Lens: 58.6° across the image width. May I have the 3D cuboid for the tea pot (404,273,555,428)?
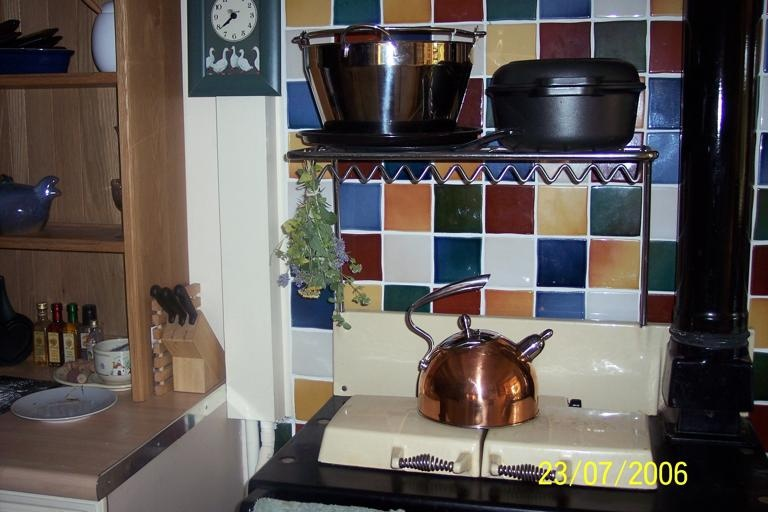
[{"bbox_3d":[0.244,0.241,1.844,0.334,0.376,0.331,-3,2,0],"label":"tea pot"}]

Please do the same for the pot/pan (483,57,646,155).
[{"bbox_3d":[0.479,-0.405,1.832,0.414,0.245,0.417,-11,14,-41],"label":"pot/pan"}]

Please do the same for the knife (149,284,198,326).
[{"bbox_3d":[-0.641,0.140,2.089,0.124,0.126,0.036,-31,16,-24],"label":"knife"}]

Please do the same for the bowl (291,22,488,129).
[{"bbox_3d":[0.019,-0.491,1.862,0.476,0.256,0.541,8,17,27],"label":"bowl"}]

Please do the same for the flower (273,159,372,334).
[{"bbox_3d":[-0.209,-0.033,1.987,0.215,0.285,0.452,13,1,-1],"label":"flower"}]

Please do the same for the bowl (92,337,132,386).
[{"bbox_3d":[-0.846,0.344,2.170,0.128,0.112,0.147,-4,6,-26],"label":"bowl"}]
